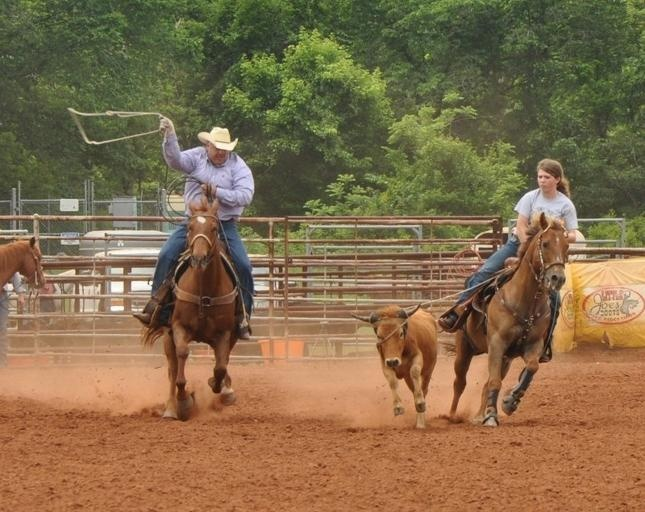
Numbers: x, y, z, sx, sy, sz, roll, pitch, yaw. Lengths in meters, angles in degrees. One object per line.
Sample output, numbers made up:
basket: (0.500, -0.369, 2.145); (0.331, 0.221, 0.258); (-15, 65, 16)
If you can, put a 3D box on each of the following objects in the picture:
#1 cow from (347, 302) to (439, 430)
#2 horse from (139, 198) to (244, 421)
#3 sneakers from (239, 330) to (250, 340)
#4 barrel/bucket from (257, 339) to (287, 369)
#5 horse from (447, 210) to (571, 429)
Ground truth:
cow: (2.101, 2.513, 32.572); (1.182, 2.823, 1.636); (2, 4, 40)
horse: (-2.912, 1.220, 32.514); (2.023, 5.206, 1.659); (0, 3, -3)
sneakers: (-1.861, 1.865, 33.171); (0.222, 0.393, 0.175); (-3, 3, -10)
barrel/bucket: (-1.387, 2.748, 39.317); (0.794, 0.610, 0.828); (0, -7, 0)
horse: (4.513, 1.389, 32.275); (2.646, 4.863, 1.013); (1, 3, 22)
